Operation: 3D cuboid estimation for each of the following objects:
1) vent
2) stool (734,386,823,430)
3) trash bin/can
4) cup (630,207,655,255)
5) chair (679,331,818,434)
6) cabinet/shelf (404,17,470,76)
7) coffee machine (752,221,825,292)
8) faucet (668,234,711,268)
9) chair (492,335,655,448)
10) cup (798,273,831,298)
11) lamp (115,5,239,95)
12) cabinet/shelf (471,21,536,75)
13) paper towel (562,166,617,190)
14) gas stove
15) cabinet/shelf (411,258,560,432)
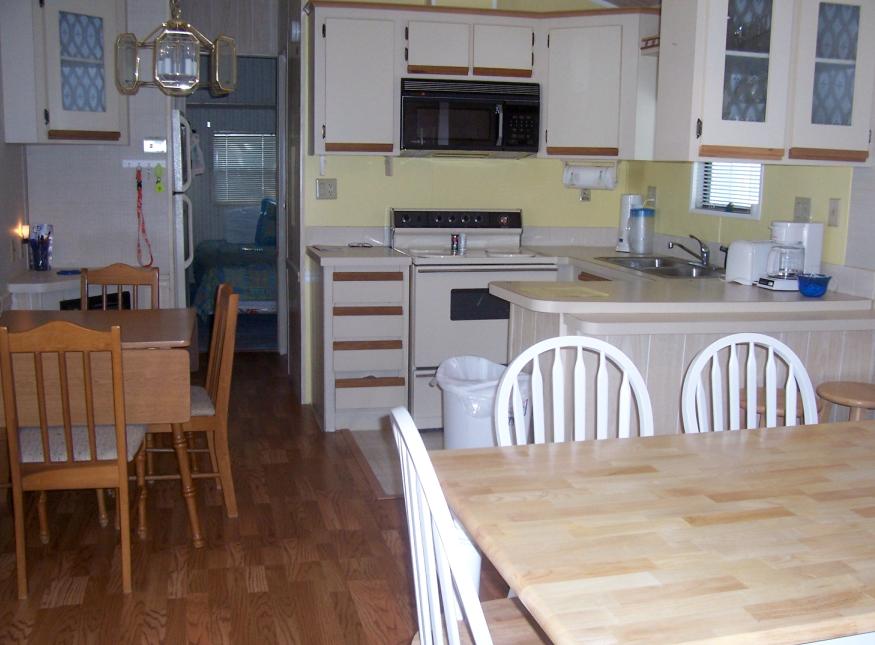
[{"bbox_3d":[0.213,-1.333,4.604,0.913,0.460,0.104,-1,13,-13],"label":"vent"},{"bbox_3d":[1.230,0.302,2.567,0.211,0.230,0.193,-3,11,-5],"label":"stool"},{"bbox_3d":[0.225,0.316,3.481,0.448,0.400,0.423,-11,14,-32],"label":"trash bin/can"},{"bbox_3d":[1.421,-0.638,4.947,0.179,0.311,0.143,5,13,12],"label":"cup"},{"bbox_3d":[1.149,0.213,2.635,0.347,0.447,0.309,-5,14,0],"label":"chair"},{"bbox_3d":[-0.009,-1.736,4.572,0.523,0.356,0.286,-1,12,-10],"label":"cabinet/shelf"},{"bbox_3d":[1.790,-0.342,3.588,0.286,0.319,0.418,9,14,27],"label":"coffee machine"},{"bbox_3d":[1.580,-0.440,4.426,0.309,0.213,0.153,-3,8,-21],"label":"faucet"},{"bbox_3d":[0.517,0.246,2.579,0.418,0.540,0.375,-4,10,-8],"label":"chair"},{"bbox_3d":[1.798,-0.177,3.411,0.124,0.085,0.120,0,12,0],"label":"cup"},{"bbox_3d":[-1.161,-1.211,3.120,0.431,0.438,0.488,-9,17,-41],"label":"lamp"},{"bbox_3d":[0.408,-1.743,4.628,0.516,0.363,0.281,-1,13,-9],"label":"cabinet/shelf"},{"bbox_3d":[1.105,-1.053,5.222,0.264,0.191,0.061,2,1,-5],"label":"paper towel"},{"bbox_3d":[0.377,0.034,4.771,1.040,1.294,0.968,-3,-14,22],"label":"gas stove"},{"bbox_3d":[0.039,0.106,4.917,1.075,1.430,0.975,-1,7,-8],"label":"cabinet/shelf"}]
